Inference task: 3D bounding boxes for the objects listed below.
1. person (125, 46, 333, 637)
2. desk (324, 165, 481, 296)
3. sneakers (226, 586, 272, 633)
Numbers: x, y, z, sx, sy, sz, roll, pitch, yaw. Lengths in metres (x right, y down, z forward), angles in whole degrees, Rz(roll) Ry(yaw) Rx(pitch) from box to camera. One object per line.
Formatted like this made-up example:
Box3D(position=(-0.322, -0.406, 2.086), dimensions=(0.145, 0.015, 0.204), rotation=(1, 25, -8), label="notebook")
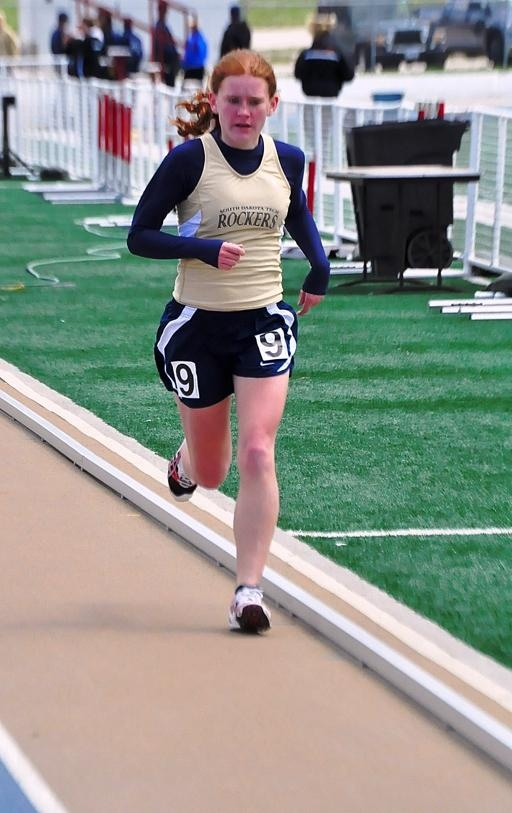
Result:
Box3D(position=(-0.093, -0.227, 2.704), dimensions=(0.565, 1.562, 0.820), rotation=(5, 11, 3), label="person")
Box3D(position=(1.293, -1.611, 8.663), dimensions=(1.218, 0.956, 1.250), rotation=(-6, 14, -17), label="desk")
Box3D(position=(-0.018, 0.552, 2.486), dimensions=(0.110, 0.113, 0.111), rotation=(5, 11, 7), label="sneakers")
